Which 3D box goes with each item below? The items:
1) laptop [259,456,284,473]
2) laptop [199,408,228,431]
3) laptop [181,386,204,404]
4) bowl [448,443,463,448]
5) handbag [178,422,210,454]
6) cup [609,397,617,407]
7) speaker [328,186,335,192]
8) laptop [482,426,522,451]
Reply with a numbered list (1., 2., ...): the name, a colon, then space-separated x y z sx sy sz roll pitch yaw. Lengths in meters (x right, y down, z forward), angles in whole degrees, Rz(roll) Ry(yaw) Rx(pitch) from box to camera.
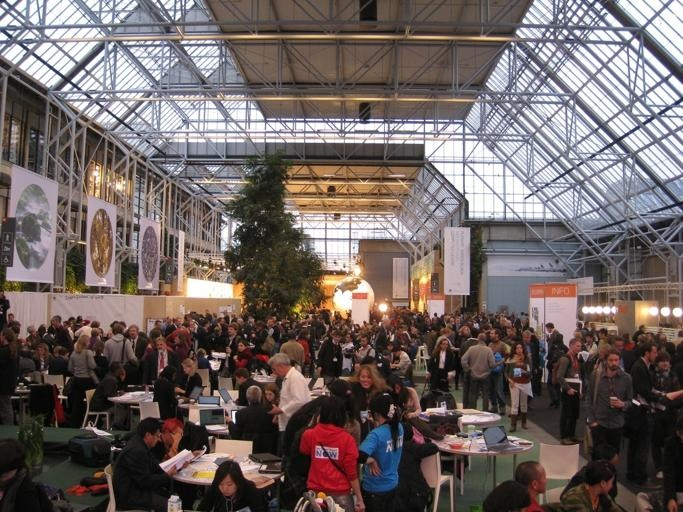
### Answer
1. laptop: -1.150 3.204 10.094 0.431 0.210 0.655 2 -10 -8
2. laptop: -2.438 2.998 12.183 0.444 0.331 0.322 2 -8 -25
3. laptop: -3.034 2.841 13.421 0.285 0.238 0.258 -4 -22 41
4. bowl: 1.941 3.187 10.995 0.233 0.079 0.199 0 -10 4
5. handbag: -2.464 3.053 11.080 0.394 0.666 0.507 1 -7 14
6. cup: 4.791 2.579 11.513 0.110 0.100 0.124 4 -3 13
7. speaker: -0.692 -4.608 45.287 0.400 0.253 0.430 -1 -31 0
8. laptop: 2.601 3.058 10.985 0.422 0.295 0.320 2 -8 -26
